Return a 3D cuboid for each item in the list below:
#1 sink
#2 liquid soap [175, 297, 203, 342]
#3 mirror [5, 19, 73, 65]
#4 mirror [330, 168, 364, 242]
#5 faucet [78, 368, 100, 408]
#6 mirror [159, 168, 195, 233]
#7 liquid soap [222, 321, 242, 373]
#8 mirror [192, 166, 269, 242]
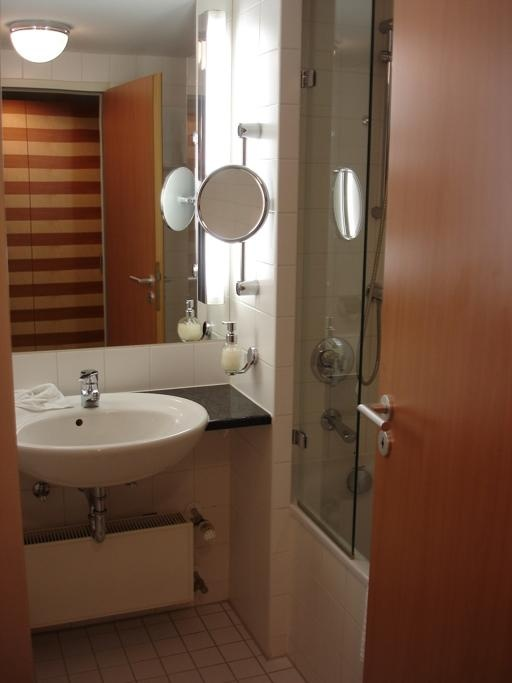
[{"bbox_3d":[-0.406,0.320,1.691,0.524,0.260,0.486,-1,7,-26],"label":"sink"},{"bbox_3d":[-0.239,-0.079,2.110,0.107,0.220,0.114,-1,6,-6],"label":"liquid soap"},{"bbox_3d":[-0.656,-0.908,1.774,0.177,0.125,0.015,-1,6,-28],"label":"mirror"},{"bbox_3d":[0.248,-0.378,1.613,0.076,0.245,0.034,-3,-23,12],"label":"mirror"},{"bbox_3d":[-0.511,0.142,1.795,0.061,0.159,0.098,0,2,-11],"label":"faucet"},{"bbox_3d":[-0.248,-0.495,2.061,0.192,0.226,0.063,-7,-5,42],"label":"mirror"},{"bbox_3d":[-0.082,0.013,1.994,0.066,0.169,0.157,1,6,-3],"label":"liquid soap"},{"bbox_3d":[-0.074,-0.446,1.849,0.232,0.277,0.058,5,43,-12],"label":"mirror"}]
